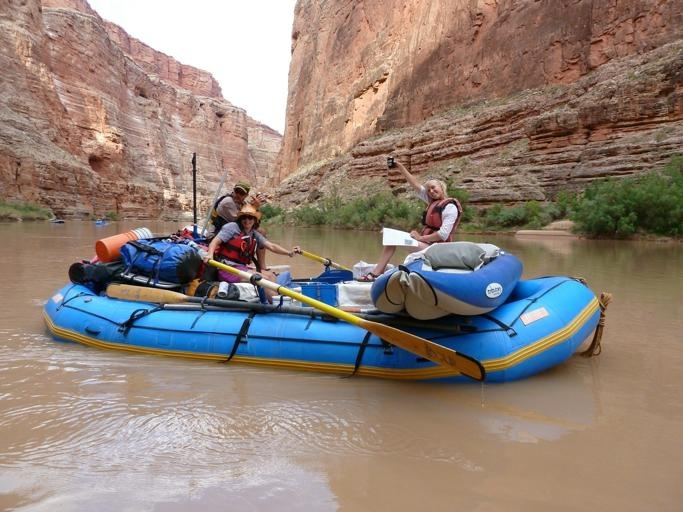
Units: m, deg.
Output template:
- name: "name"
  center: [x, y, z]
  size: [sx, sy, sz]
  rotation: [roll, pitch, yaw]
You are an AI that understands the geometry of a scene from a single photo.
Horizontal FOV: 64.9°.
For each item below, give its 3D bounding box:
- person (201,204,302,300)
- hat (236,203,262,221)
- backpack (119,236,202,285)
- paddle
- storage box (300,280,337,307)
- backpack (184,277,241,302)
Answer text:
- name: "person"
  center: [-1.024, 0.043, 6.407]
  size: [1.077, 1.207, 0.713]
  rotation: [7, 4, -9]
- name: "hat"
  center: [-1.159, -0.539, 6.630]
  size: [0.335, 0.118, 0.330]
  rotation: [5, -23, -2]
- name: "backpack"
  center: [-2.110, 0.099, 6.233]
  size: [1.001, 0.427, 0.543]
  rotation: [7, -6, 28]
- name: "paddle"
  center: [-0.196, 0.529, 5.190]
  size: [3.203, 0.185, 0.242]
  rotation: [15, 42, 31]
- name: "storage box"
  center: [-0.255, 0.455, 6.449]
  size: [0.334, 0.193, 0.314]
  rotation: [3, 2, 13]
- name: "backpack"
  center: [-1.390, 0.371, 5.848]
  size: [0.405, 0.136, 0.296]
  rotation: [4, -7, 8]
